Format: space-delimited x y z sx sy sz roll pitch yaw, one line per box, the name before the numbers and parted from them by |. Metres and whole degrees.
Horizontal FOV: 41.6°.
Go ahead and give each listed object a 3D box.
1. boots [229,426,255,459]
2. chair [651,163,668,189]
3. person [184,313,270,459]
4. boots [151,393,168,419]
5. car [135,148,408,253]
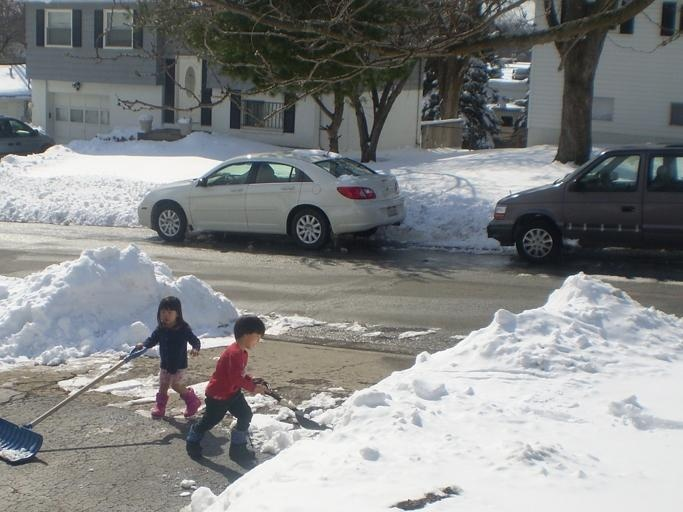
boots | -0.999 1.823 8.881 0.284 0.352 0.266 -5 6 -18
chair | 5.253 -1.319 14.873 0.154 0.232 0.333 -25 27 -30
person | -1.121 1.256 8.825 0.785 1.381 0.462 0 10 -9
boots | -1.912 1.557 9.500 0.160 0.255 0.241 -1 10 -11
car | -1.387 -1.019 18.183 4.558 1.742 2.108 5 11 21
